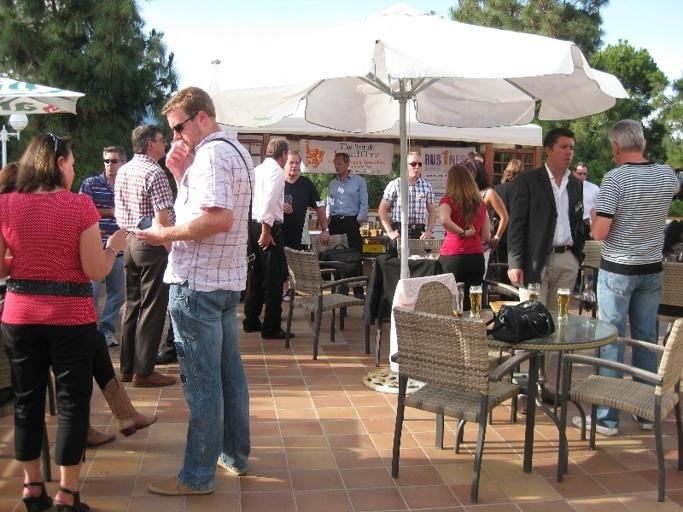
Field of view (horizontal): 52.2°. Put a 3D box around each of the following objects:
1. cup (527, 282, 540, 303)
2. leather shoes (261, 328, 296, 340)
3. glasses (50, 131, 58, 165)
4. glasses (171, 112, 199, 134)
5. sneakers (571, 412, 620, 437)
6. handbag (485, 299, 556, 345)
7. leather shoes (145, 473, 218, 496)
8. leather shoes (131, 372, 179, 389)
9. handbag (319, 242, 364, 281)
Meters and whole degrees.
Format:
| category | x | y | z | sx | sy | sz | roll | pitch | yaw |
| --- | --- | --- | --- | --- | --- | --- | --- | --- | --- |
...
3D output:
| category | x | y | z | sx | sy | sz | roll | pitch | yaw |
| --- | --- | --- | --- | --- | --- | --- | --- | --- | --- |
| cup | 1.505 | 0.281 | 5.360 | 0.125 | 0.213 | 0.135 | 0 | -7 | 0 |
| leather shoes | -0.723 | 0.909 | 7.981 | 0.389 | 0.170 | 0.132 | -1 | 3 | -11 |
| glasses | -1.774 | -0.686 | 4.343 | 0.042 | 0.147 | 0.143 | -4 | -6 | -10 |
| glasses | -0.984 | -0.843 | 4.437 | 0.141 | 0.042 | 0.132 | -52 | 23 | -26 |
| sneakers | 2.015 | 1.321 | 5.525 | 0.280 | 0.103 | 0.174 | 3 | 2 | 11 |
| handbag | 1.263 | 0.448 | 4.811 | 0.364 | 0.175 | 0.265 | -5 | 3 | -40 |
| leather shoes | -1.035 | 1.514 | 4.550 | 0.431 | 0.178 | 0.156 | 5 | -7 | -1 |
| leather shoes | -1.677 | 1.131 | 6.281 | 0.391 | 0.169 | 0.149 | -2 | 4 | -23 |
| handbag | 0.035 | 0.073 | 8.666 | 0.425 | 0.319 | 0.421 | -1 | 0 | -28 |
